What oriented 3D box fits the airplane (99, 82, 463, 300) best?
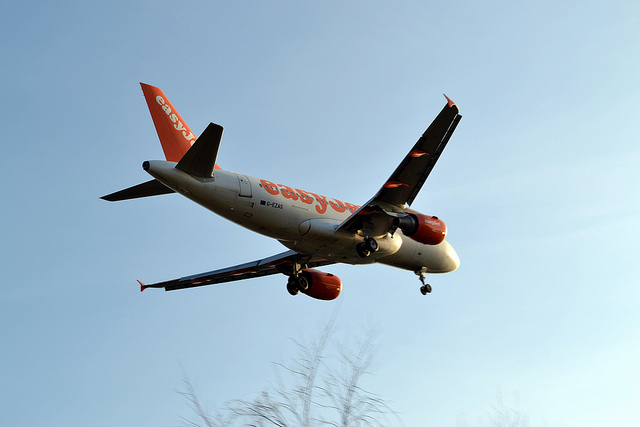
[{"bbox_3d":[-1.116,-0.159,26.012,11.006,3.773,9.353,-1,-46,-1],"label":"airplane"}]
